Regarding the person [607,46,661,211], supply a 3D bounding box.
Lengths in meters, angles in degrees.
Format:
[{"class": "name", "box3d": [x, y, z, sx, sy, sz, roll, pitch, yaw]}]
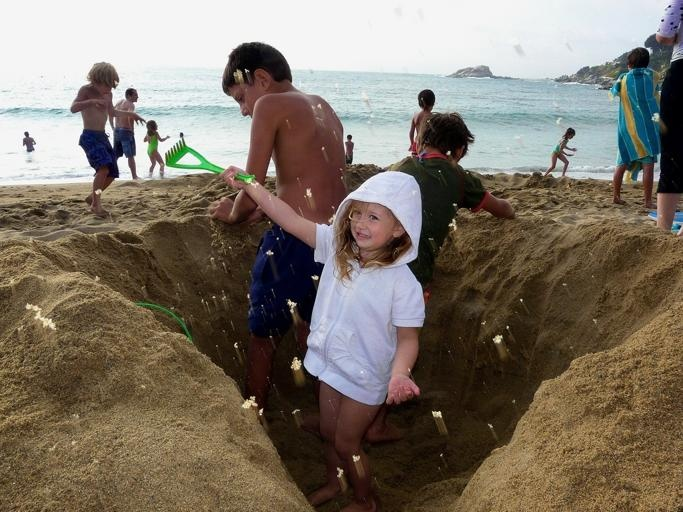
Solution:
[{"class": "person", "box3d": [3.092, -1.313, 5.953, 0.547, 1.661, 1.012, 7, 17, 28]}]

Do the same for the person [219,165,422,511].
[{"class": "person", "box3d": [0.006, 0.503, 2.707, 0.766, 1.771, 0.550, 2, 15, 12]}]

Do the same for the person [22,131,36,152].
[{"class": "person", "box3d": [-6.773, -2.464, 12.185, 0.224, 0.418, 1.094, -9, 17, -28]}]
